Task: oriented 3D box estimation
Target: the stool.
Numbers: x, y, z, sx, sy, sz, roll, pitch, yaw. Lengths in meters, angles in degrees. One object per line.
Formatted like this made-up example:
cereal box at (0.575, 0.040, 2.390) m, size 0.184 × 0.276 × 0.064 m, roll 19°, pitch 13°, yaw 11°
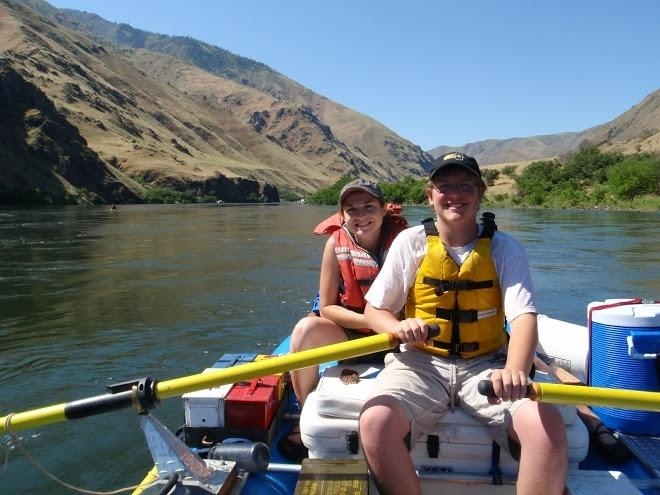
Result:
stool at (0.680, 1.033, 3.078) m, size 0.969 × 0.284 × 0.840 m, roll 0°, pitch -6°, yaw 6°
